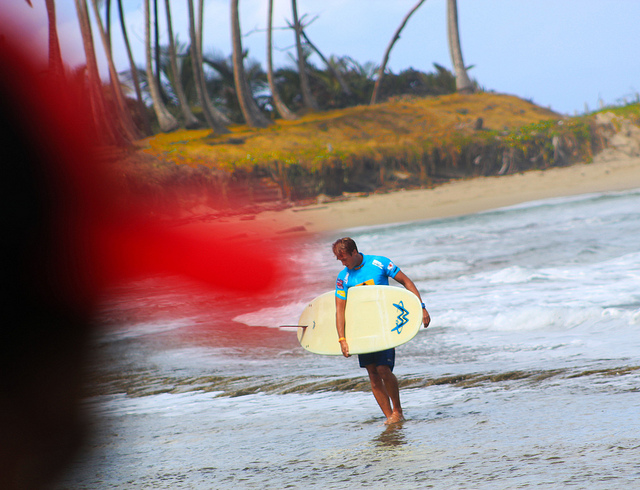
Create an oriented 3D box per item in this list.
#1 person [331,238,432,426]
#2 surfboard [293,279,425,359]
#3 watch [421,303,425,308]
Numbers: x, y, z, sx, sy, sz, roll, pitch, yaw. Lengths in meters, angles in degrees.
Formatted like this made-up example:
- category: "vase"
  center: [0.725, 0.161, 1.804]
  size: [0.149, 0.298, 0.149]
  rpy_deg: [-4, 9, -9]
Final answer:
- category: "person"
  center: [0.753, 1.067, 12.083]
  size: [1.081, 2.399, 0.642]
  rpy_deg: [-9, 12, 0]
- category: "surfboard"
  center: [0.581, 0.972, 12.262]
  size: [2.181, 0.899, 0.379]
  rpy_deg: [-10, -17, 42]
- category: "watch"
  center: [1.319, 0.768, 12.080]
  size: [0.062, 0.061, 0.072]
  rpy_deg: [-9, -3, 1]
